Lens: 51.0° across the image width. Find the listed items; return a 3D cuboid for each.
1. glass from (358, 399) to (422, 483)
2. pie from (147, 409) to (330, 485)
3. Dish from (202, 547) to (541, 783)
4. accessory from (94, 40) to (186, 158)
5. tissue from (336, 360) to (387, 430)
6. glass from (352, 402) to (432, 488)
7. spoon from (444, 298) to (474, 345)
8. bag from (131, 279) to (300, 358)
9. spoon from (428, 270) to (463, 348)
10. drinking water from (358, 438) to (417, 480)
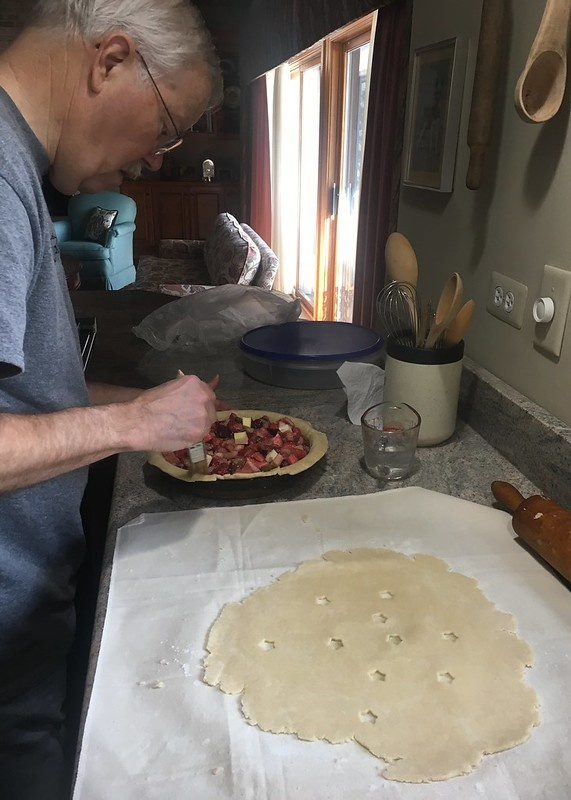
[{"bbox_3d":[0.178,0.069,1.091,0.109,0.132,0.137,2,38,9],"label":"glass"},{"bbox_3d":[-0.050,0.082,0.931,0.177,0.027,0.159,-5,26,-13],"label":"pie"},{"bbox_3d":[0.093,0.262,0.667,0.346,0.052,0.328,8,28,15],"label":"Dish"},{"bbox_3d":[-0.189,-0.387,0.757,0.030,0.102,0.098,-20,2,-6],"label":"accessory"},{"bbox_3d":[0.157,-0.013,1.242,0.114,0.124,0.037,-5,11,-32],"label":"tissue"},{"bbox_3d":[0.189,0.074,1.082,0.111,0.135,0.138,1,37,8],"label":"glass"},{"bbox_3d":[0.307,-0.146,1.053,0.040,0.098,0.121,8,28,14],"label":"spoon"},{"bbox_3d":[-0.229,-0.255,1.844,0.354,0.113,0.267,-9,26,1],"label":"bag"},{"bbox_3d":[0.259,-0.149,1.048,0.027,0.178,0.036,4,51,-8],"label":"spoon"},{"bbox_3d":[0.176,0.084,1.006,0.076,0.077,0.080,7,39,16],"label":"drinking water"}]
